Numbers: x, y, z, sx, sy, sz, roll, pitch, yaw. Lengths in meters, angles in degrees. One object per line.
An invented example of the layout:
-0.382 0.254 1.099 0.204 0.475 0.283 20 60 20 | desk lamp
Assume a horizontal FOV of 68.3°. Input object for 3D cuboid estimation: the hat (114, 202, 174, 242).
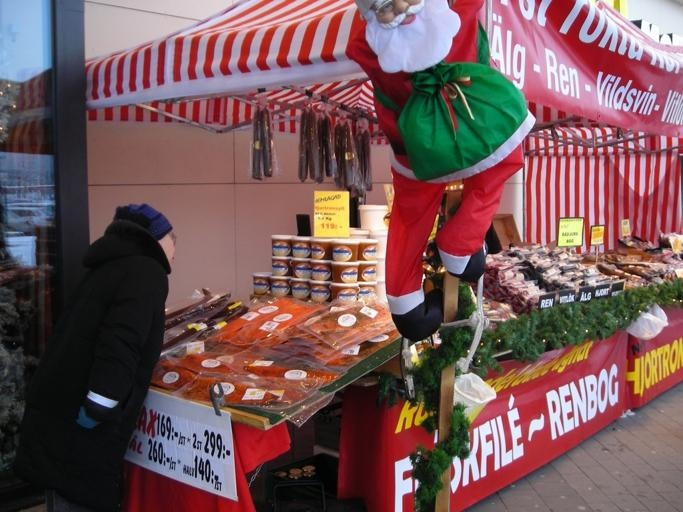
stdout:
-1.080 -0.191 2.707 0.244 0.194 0.199 0 1 -34 | hat
